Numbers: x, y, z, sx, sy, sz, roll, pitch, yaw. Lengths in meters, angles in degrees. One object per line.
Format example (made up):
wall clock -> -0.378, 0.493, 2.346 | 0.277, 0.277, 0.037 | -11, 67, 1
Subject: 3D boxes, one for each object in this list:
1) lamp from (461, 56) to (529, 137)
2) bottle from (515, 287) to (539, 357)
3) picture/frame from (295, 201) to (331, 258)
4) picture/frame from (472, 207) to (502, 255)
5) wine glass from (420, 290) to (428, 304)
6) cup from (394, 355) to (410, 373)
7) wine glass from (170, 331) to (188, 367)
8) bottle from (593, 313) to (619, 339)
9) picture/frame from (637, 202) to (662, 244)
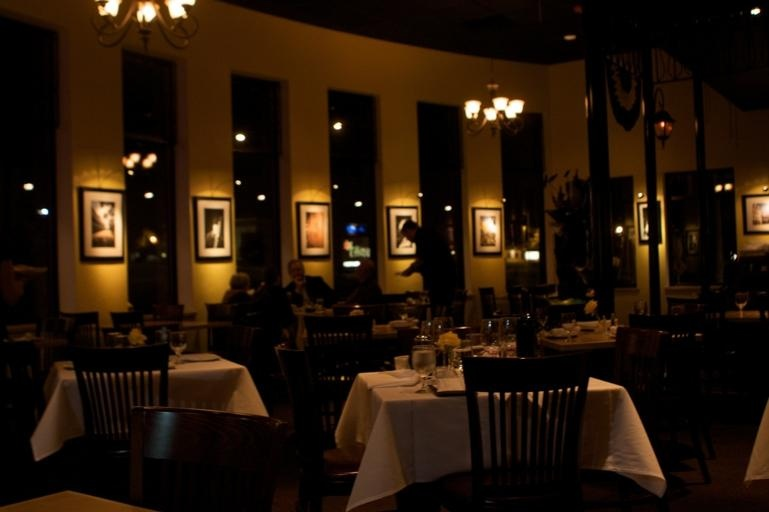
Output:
lamp -> 1.625, -2.590, 10.004 | 0.865, 1.541, 1.013 | -1, 1, -15
bottle -> 1.085, 0.543, 5.117 | 0.131, 0.597, 0.137 | -5, 18, 1
picture/frame -> -1.168, -0.444, 11.268 | 0.605, 0.938, 0.055 | 2, 8, 20
picture/frame -> 1.932, -0.491, 12.841 | 0.838, 1.216, 0.076 | 1, -4, -36
wine glass -> 0.599, 0.630, 10.167 | 0.122, 0.254, 0.130 | 2, 4, 1
cup -> 0.135, 0.836, 5.115 | 0.110, 0.090, 0.117 | -1, -6, 0
wine glass -> -1.712, 0.752, 5.560 | 0.155, 0.264, 0.165 | 7, 13, 31
bottle -> 2.232, 0.709, 6.731 | 0.218, 0.186, 0.228 | 1, 2, 24
picture/frame -> 4.896, -0.637, 12.402 | 0.391, 0.792, 0.039 | -2, 12, 24
